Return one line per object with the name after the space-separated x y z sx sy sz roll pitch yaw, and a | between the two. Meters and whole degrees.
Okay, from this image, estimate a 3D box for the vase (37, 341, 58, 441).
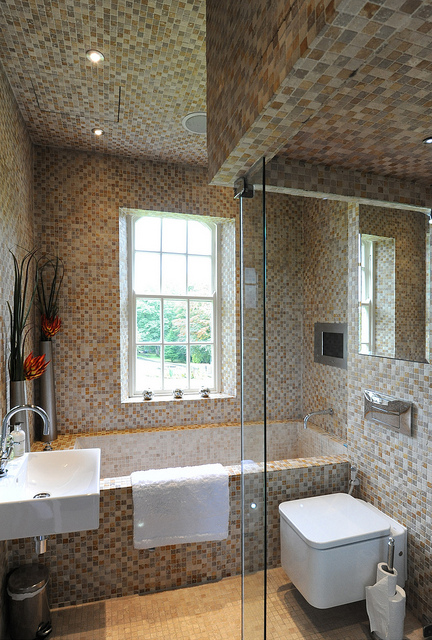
-1.111 0.457 3.159 0.124 0.642 0.207 0 -1 -22 | vase
